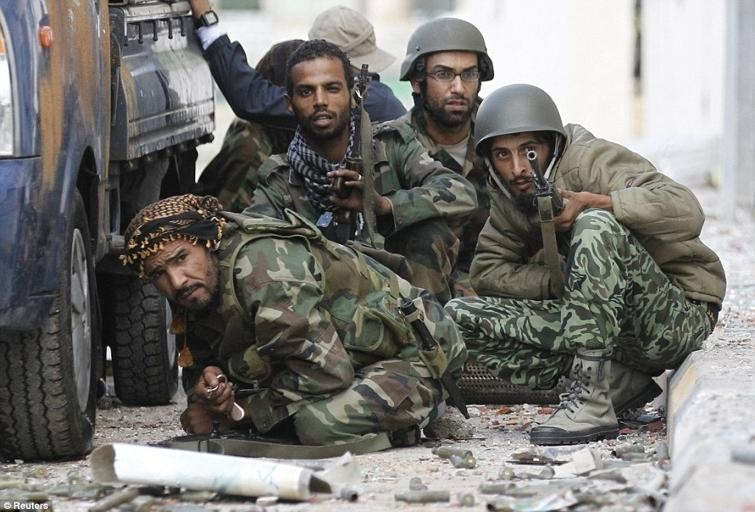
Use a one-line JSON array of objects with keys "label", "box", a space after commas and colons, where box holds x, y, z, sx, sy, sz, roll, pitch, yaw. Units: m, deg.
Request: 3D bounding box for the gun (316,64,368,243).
[{"label": "gun", "box": [-0.197, -0.535, 5.022, 0.269, 0.955, 0.092, 5, 2, 44]}]

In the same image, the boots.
[{"label": "boots", "box": [0.988, 0.613, 4.504, 0.259, 0.390, 0.774, 3, 14, 45]}]

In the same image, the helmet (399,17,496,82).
[{"label": "helmet", "box": [0.475, -1.263, 5.994, 0.514, 0.358, 0.547, 0, -4, 13]}]

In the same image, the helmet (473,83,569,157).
[{"label": "helmet", "box": [0.668, -0.722, 4.858, 0.456, 0.329, 0.504, -14, -6, 16]}]
